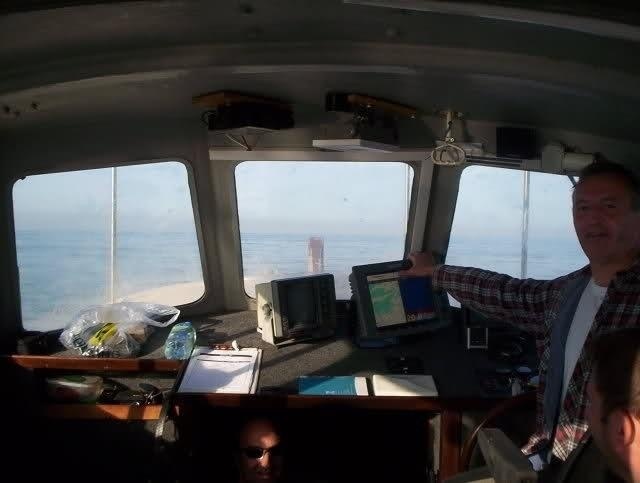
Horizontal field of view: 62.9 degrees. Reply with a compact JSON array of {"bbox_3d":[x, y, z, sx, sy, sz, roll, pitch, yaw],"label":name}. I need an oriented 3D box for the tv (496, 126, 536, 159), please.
[{"bbox_3d":[1.430,-0.707,3.757,0.315,0.245,0.061,-3,6,0],"label":"tv"}]

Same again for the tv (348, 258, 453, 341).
[{"bbox_3d":[0.533,0.412,3.564,0.603,0.400,0.219,-3,-18,-20],"label":"tv"}]
